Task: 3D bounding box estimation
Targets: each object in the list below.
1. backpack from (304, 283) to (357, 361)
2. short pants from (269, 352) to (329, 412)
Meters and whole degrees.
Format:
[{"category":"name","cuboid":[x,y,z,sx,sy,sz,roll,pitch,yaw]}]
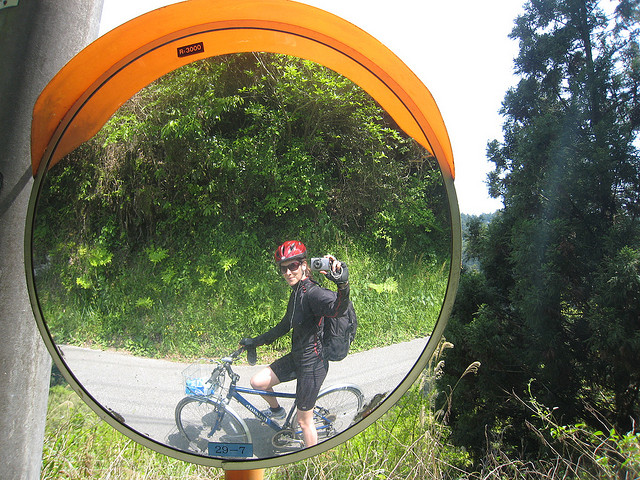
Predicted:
[{"category":"backpack","cuboid":[0.131,0.694,5.474,0.413,0.815,0.528,-2,24,13]},{"category":"short pants","cuboid":[-0.201,1.311,5.401,0.523,0.501,0.330,-5,-10,43]}]
